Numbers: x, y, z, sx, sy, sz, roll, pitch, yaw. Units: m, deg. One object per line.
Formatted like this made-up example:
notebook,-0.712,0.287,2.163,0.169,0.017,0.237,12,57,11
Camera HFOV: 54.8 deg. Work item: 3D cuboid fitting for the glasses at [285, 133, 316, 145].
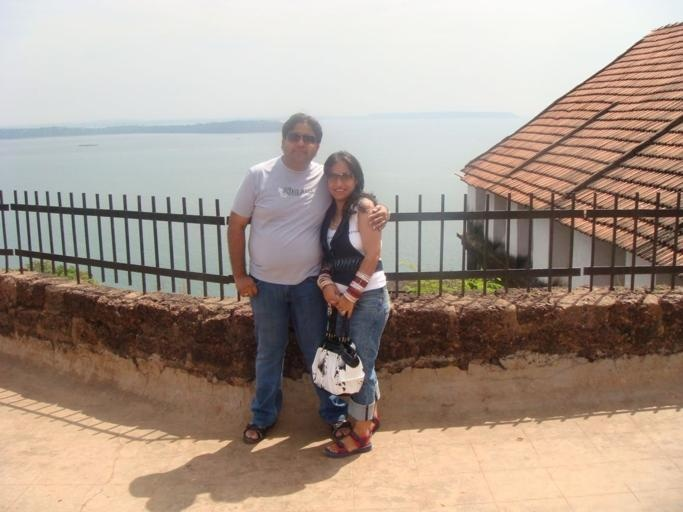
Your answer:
glasses,-0.348,-1.025,5.704,0.301,0.108,0.087,0,3,-6

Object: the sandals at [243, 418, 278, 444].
sandals,-0.742,1.622,6.038,0.117,0.126,0.319,2,-4,31

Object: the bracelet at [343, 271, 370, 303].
bracelet,0.127,0.261,5.518,0.171,0.220,0.152,32,6,-3

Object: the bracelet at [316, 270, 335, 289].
bracelet,-0.145,0.207,5.686,0.128,0.135,0.156,3,2,5

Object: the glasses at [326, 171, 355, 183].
glasses,-0.016,-0.676,5.579,0.213,0.073,0.068,0,3,-4
